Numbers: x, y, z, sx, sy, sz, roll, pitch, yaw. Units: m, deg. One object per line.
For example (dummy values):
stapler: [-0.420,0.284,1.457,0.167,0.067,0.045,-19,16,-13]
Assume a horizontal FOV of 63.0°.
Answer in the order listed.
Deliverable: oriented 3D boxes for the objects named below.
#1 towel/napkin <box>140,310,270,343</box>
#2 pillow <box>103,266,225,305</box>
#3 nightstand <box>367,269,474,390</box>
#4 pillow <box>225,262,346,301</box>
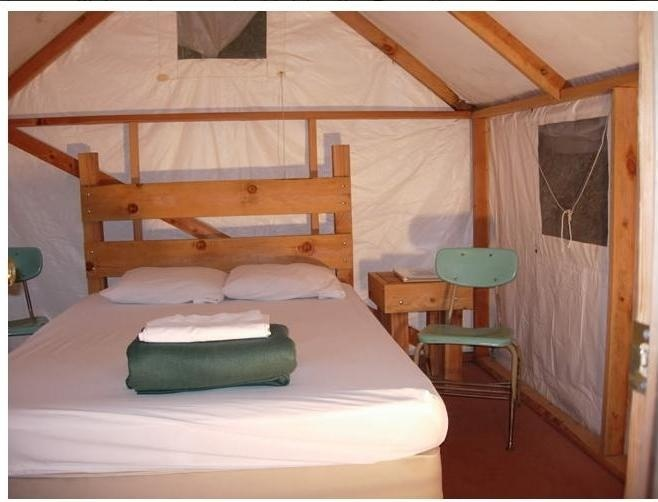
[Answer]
towel/napkin: [-0.572,0.345,2.501,0.589,0.055,0.346,-3,11,-11]
pillow: [-1.134,0.240,3.756,0.828,0.180,0.336,0,11,1]
nightstand: [0.463,0.551,4.089,0.841,0.911,0.754,-1,4,-10]
pillow: [-0.315,0.228,3.760,0.833,0.190,0.253,-1,11,-2]
